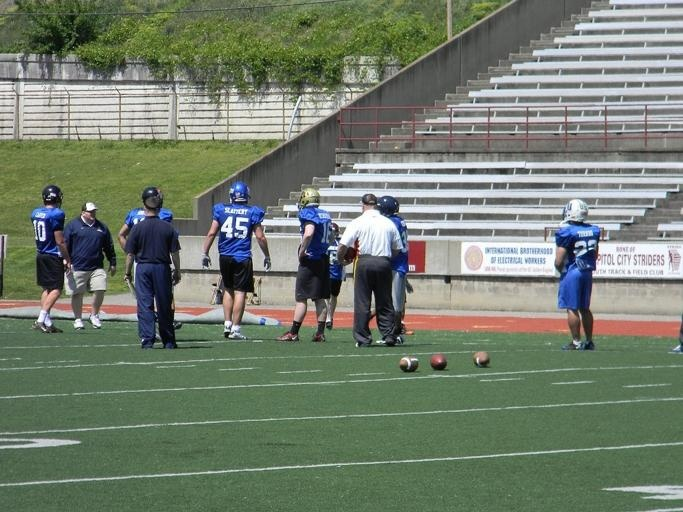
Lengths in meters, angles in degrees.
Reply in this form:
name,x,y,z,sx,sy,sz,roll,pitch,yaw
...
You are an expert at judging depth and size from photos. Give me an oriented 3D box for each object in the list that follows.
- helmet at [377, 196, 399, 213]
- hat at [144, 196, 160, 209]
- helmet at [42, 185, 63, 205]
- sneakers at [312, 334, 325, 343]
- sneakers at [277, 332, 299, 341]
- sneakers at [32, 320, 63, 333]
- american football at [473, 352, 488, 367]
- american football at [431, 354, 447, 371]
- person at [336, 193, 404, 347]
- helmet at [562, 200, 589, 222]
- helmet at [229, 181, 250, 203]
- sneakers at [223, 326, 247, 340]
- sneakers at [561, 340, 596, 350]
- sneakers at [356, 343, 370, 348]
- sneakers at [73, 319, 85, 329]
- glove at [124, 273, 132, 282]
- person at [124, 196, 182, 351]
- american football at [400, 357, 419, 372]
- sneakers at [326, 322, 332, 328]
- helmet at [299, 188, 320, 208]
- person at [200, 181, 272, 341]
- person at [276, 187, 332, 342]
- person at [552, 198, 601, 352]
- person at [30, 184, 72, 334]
name,x,y,z,sx,sy,sz,roll,pitch,yaw
helmet,0.906,-1.060,29.522,0.369,0.301,0.294,23,18,37
hat,-3.598,-1.037,28.633,0.271,0.199,0.227,-3,-8,-3
helmet,-5.886,-1.296,30.528,0.344,0.394,0.414,5,21,1
sneakers,-0.444,1.612,29.639,0.118,0.114,0.253,1,6,6
sneakers,-1.075,1.576,29.705,0.445,0.187,0.161,3,1,10
sneakers,-5.986,1.407,30.545,0.669,0.275,0.218,4,11,-12
american football,2.525,1.843,26.982,0.271,0.291,0.311,1,15,3
american football,1.736,1.878,26.705,0.256,0.289,0.363,2,15,5
person,0.597,0.310,28.760,1.134,2.835,0.745,0,15,1
helmet,4.569,-0.899,29.136,0.454,0.488,0.604,1,10,-4
helmet,-1.979,-1.297,29.763,0.357,0.397,0.471,0,14,-14
sneakers,-2.073,1.513,29.702,0.187,0.232,0.565,18,9,33
sneakers,4.552,1.704,28.882,0.617,0.271,0.205,3,2,-4
sneakers,0.420,1.690,28.806,0.247,0.111,0.101,0,2,34
sneakers,-5.405,1.401,31.061,0.133,0.151,0.354,1,-3,-19
glove,-4.374,0.414,30.879,0.186,0.243,0.088,1,34,8
person,-3.525,0.279,28.546,0.873,2.852,1.018,-13,20,-40
american football,1.216,1.915,26.655,0.297,0.210,0.210,-11,-35,-2
sneakers,-0.260,1.410,31.127,0.131,0.110,0.118,1,4,12
helmet,-0.604,-1.175,29.393,0.310,0.354,0.389,-3,14,-20
person,-2.055,0.145,29.591,0.938,3.100,0.934,13,19,39
person,-0.634,0.216,29.499,0.879,3.110,0.950,0,15,0
person,4.511,0.392,28.864,0.820,2.891,1.029,2,15,7
person,-5.955,0.068,30.750,0.767,3.119,1.372,-3,15,-12
